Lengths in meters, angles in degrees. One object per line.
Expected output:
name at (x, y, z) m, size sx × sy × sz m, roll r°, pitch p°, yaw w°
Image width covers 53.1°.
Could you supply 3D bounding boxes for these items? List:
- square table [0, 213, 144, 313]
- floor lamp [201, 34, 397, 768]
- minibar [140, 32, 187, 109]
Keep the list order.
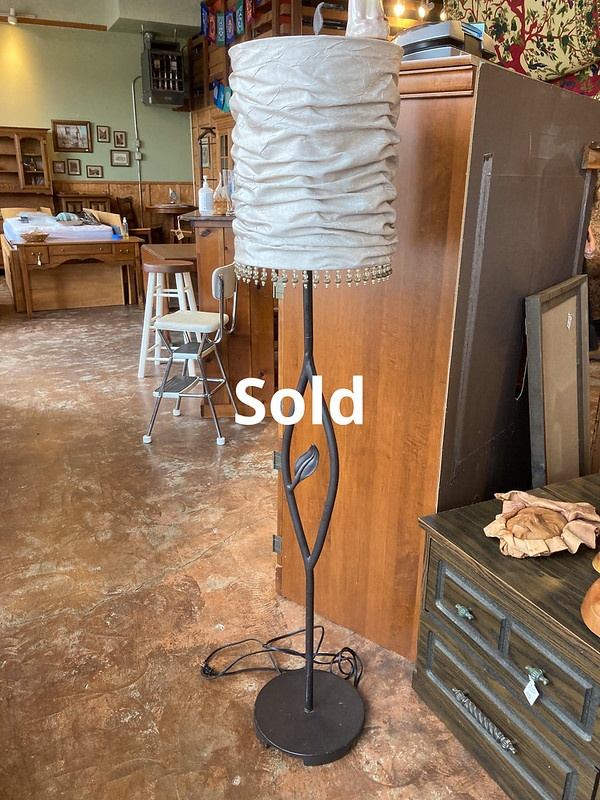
square table at (-2.493, -1.475, 6.789) m, size 1.422 × 0.935 × 0.838 m, roll -11°, pitch 19°, yaw -25°
floor lamp at (0.037, 0.102, 1.287) m, size 0.361 × 1.502 × 0.467 m, roll -5°, pitch 17°, yaw -6°
minibar at (-1.991, -4.798, 8.793) m, size 0.505 × 0.882 × 0.451 m, roll -8°, pitch 11°, yaw -33°
